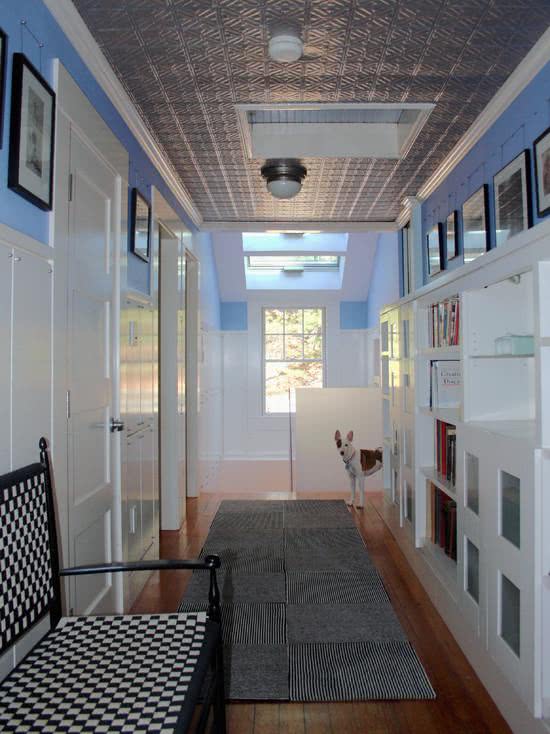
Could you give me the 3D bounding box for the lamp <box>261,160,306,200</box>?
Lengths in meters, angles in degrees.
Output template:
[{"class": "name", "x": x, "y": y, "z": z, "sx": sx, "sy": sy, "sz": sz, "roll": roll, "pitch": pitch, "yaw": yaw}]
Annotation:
[{"class": "lamp", "x": 0.056, "y": -1.317, "z": 3.425, "sx": 0.336, "sy": 0.206, "sz": 0.312, "roll": 2, "pitch": 0, "yaw": 0}]
